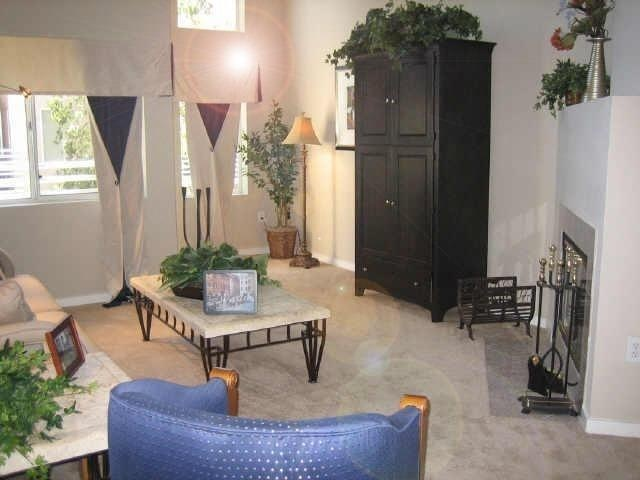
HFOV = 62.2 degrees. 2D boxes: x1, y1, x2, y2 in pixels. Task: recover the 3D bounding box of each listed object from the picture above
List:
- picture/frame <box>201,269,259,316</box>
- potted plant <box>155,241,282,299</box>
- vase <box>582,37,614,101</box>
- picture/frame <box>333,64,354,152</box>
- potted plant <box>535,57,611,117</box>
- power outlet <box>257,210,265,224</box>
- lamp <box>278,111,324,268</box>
[{"bbox_3d":[-0.574,0.338,3.405,0.266,0.244,0.028,0,2,3],"label":"picture/frame"},{"bbox_3d":[-0.813,0.179,3.790,0.526,0.259,0.540,1,-1,34],"label":"potted plant"},{"bbox_3d":[1.833,-1.116,3.471,0.164,0.389,0.128,1,10,12],"label":"vase"},{"bbox_3d":[0.358,-1.592,6.445,0.483,0.983,0.061,-8,13,-36],"label":"picture/frame"},{"bbox_3d":[1.876,-1.181,3.962,0.470,0.367,0.481,-13,25,-31],"label":"potted plant"},{"bbox_3d":[-0.822,-0.335,7.376,0.159,0.244,0.023,-7,12,-36],"label":"power outlet"},{"bbox_3d":[-0.216,-0.665,6.896,0.445,1.953,0.799,-1,10,0],"label":"lamp"}]
